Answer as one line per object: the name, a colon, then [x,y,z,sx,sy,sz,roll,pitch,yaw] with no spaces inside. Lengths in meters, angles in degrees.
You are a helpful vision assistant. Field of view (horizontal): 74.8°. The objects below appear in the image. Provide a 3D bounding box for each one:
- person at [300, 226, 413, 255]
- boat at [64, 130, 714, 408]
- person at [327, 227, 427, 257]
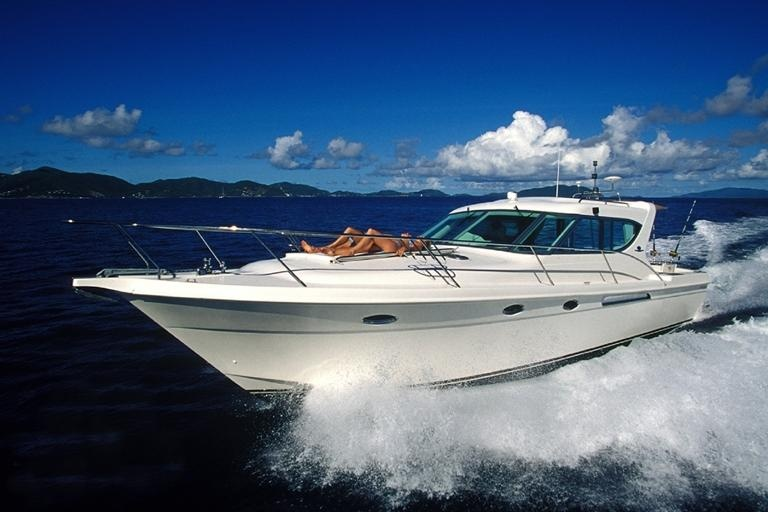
person: [-0.330,-0.177,8.389,1.498,0.293,0.654,-9,23,-10]
boat: [2.404,0.533,10.431,14.817,3.506,3.539,-1,-3,-20]
person: [-0.122,-0.189,8.379,1.337,0.253,0.634,-9,2,-13]
